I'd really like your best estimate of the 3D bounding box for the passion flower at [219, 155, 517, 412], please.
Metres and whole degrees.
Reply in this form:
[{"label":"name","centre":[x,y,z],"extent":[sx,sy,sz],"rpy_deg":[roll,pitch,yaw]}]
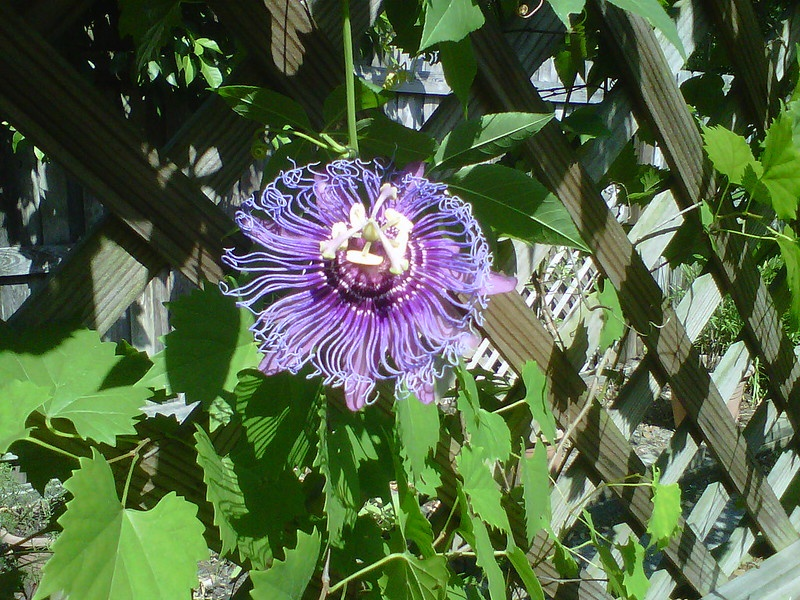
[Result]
[{"label":"passion flower","centre":[-0.067,-0.036,1.592],"extent":[0.383,0.498,0.207],"rpy_deg":[10,-10,-18]}]
